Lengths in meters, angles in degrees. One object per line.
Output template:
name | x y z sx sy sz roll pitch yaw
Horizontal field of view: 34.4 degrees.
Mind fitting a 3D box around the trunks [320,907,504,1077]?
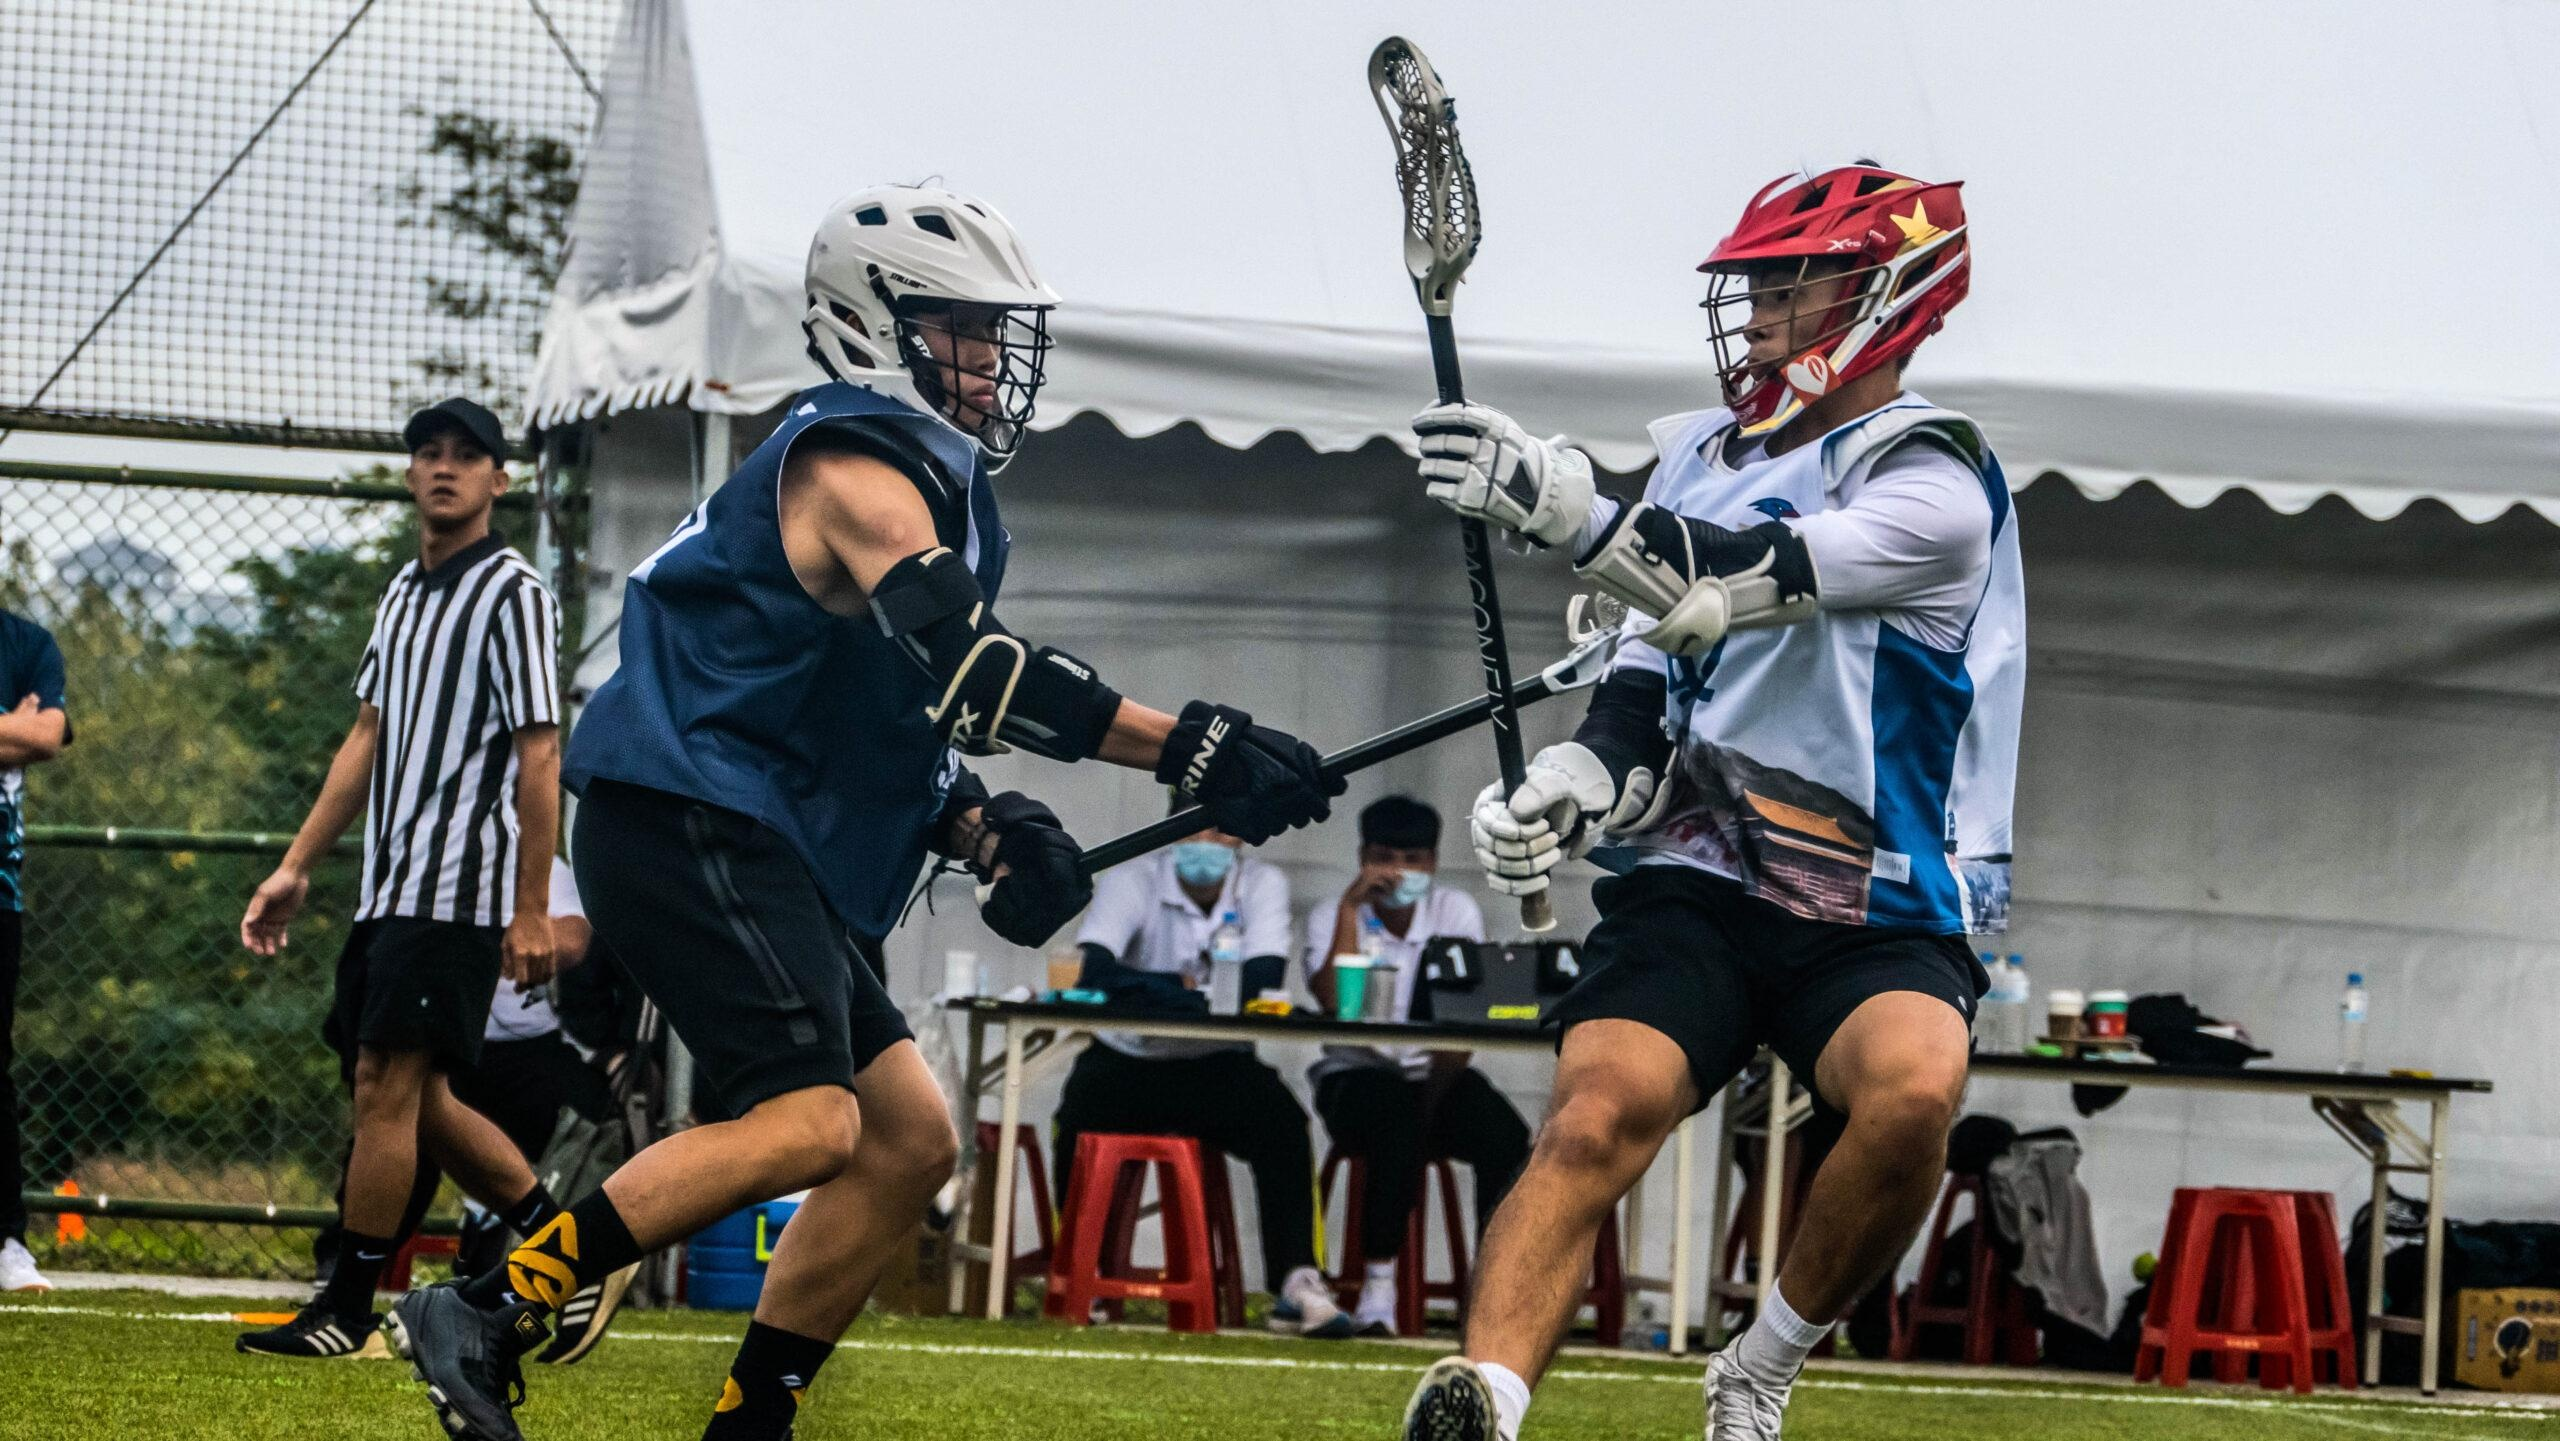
trunks | -3.662 1.166 17.507 0.750 0.671 0.436 4 -18 9

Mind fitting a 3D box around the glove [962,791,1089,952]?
glove | -0.978 0.567 15.594 0.238 0.537 0.464 -33 -7 -40

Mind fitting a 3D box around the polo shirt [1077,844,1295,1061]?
polo shirt | -0.492 1.136 20.420 1.027 0.970 0.544 3 6 -10

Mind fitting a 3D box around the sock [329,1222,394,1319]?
sock | -3.905 2.410 17.535 0.215 0.478 0.480 14 -17 -12

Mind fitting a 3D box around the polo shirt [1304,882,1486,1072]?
polo shirt | 0.555 1.258 19.743 0.891 0.822 0.481 2 -16 -4

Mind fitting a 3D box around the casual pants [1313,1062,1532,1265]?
casual pants | 0.565 2.229 20.183 0.995 0.890 0.952 10 -16 -19

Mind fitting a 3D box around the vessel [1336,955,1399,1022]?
vessel | 0.397 1.274 19.475 0.350 0.318 0.219 -1 4 -20

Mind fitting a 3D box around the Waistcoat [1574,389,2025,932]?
Waistcoat | 1.979 -0.176 15.661 1.979 2.345 1.352 -1 -7 45

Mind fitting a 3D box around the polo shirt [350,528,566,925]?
polo shirt | -3.591 0.010 17.734 1.303 1.741 0.642 7 1 43
